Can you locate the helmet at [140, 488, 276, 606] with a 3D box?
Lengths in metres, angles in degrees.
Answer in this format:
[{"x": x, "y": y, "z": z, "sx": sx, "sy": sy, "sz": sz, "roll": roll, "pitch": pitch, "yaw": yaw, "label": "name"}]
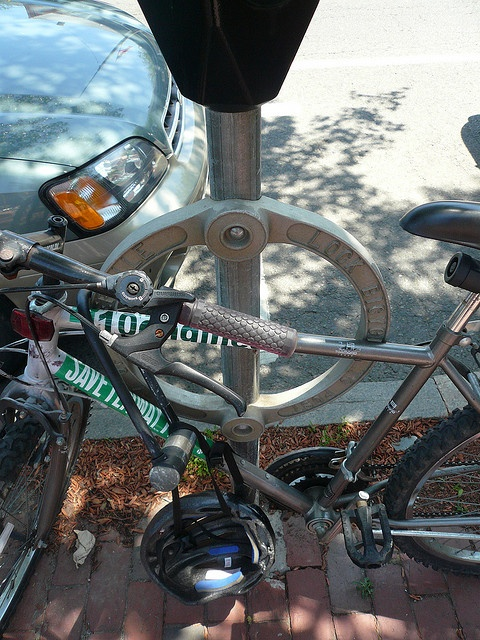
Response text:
[{"x": -0.094, "y": 0.685, "z": 1.632, "sx": 0.508, "sy": 0.361, "sz": 0.172, "roll": -13, "pitch": 26, "yaw": 2, "label": "helmet"}]
